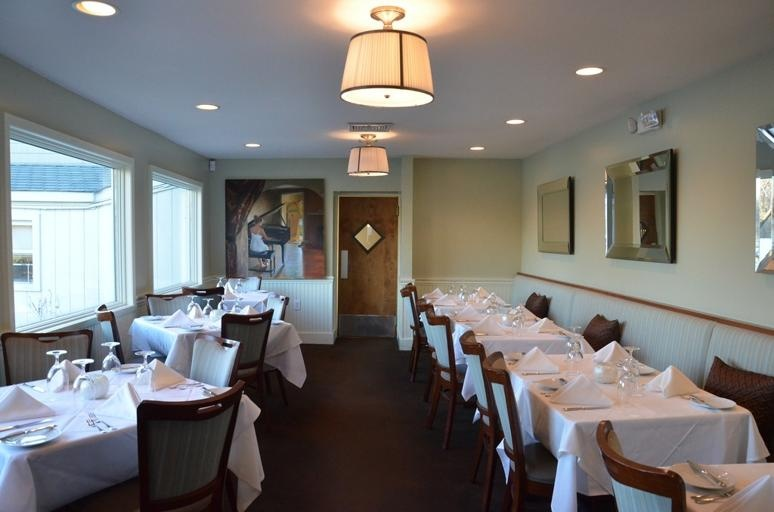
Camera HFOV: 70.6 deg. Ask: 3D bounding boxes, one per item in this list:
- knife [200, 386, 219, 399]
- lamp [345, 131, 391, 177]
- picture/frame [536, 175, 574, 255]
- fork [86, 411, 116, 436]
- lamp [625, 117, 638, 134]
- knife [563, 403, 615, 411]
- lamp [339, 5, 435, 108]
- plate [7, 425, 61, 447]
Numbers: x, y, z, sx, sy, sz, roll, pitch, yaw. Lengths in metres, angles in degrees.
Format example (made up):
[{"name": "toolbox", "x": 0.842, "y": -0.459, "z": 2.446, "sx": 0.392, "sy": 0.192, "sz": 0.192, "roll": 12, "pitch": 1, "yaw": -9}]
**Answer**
[{"name": "knife", "x": -1.329, "y": 1.011, "z": 4.082, "sx": 0.060, "sy": 0.028, "sz": 0.242, "roll": -5, "pitch": 3, "yaw": -28}, {"name": "lamp", "x": -0.259, "y": -1.375, "z": 7.326, "sx": 0.630, "sy": 0.552, "sz": 0.628, "roll": -2, "pitch": 4, "yaw": -26}, {"name": "picture/frame", "x": 2.362, "y": -0.608, "z": 7.921, "sx": 0.102, "sy": 0.986, "sz": 0.943, "roll": 6, "pitch": 15, "yaw": 43}, {"name": "fork", "x": -1.929, "y": 1.132, "z": 3.674, "sx": 0.088, "sy": 0.043, "sz": 0.297, "roll": -3, "pitch": 12, "yaw": -43}, {"name": "lamp", "x": 2.737, "y": -1.461, "z": 6.122, "sx": 0.075, "sy": 0.170, "sz": 0.179, "roll": 0, "pitch": 10, "yaw": -3}, {"name": "knife", "x": 1.422, "y": 1.073, "z": 3.874, "sx": 0.279, "sy": 0.022, "sz": 0.039, "roll": 0, "pitch": 35, "yaw": 1}, {"name": "lamp", "x": -0.013, "y": -1.509, "z": 4.283, "sx": 0.743, "sy": 0.657, "sz": 0.758, "roll": 1, "pitch": -4, "yaw": -13}, {"name": "plate", "x": -2.267, "y": 1.164, "z": 3.498, "sx": 0.305, "sy": 0.051, "sz": 0.220, "roll": -6, "pitch": 12, "yaw": -35}]
